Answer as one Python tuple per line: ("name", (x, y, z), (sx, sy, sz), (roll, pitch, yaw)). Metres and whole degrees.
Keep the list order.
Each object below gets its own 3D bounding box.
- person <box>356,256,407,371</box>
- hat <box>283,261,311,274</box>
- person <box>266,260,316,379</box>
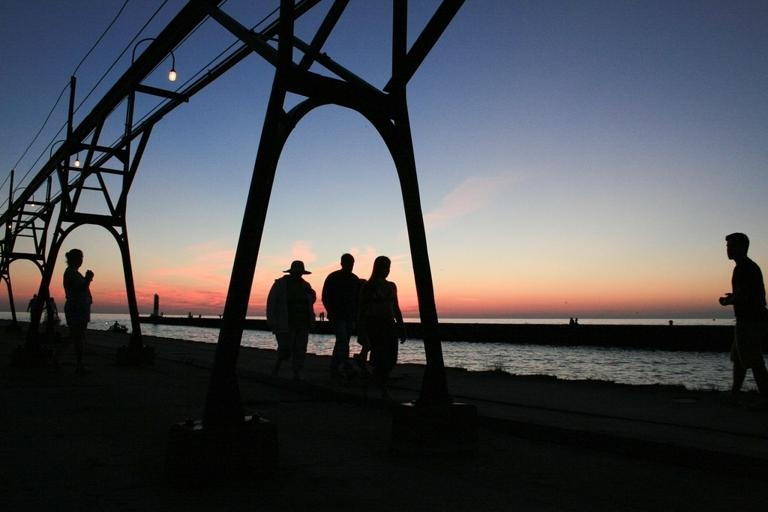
("person", (-0.048, 0.973, 9.206), (0.748, 1.746, 0.771), (0, 0, -2))
("hat", (-1.478, 0.215, 9.301), (0.423, 0.170, 0.449), (4, -8, -8))
("person", (-1.744, 1.208, 10.507), (0.792, 2.110, 0.982), (0, 0, 19))
